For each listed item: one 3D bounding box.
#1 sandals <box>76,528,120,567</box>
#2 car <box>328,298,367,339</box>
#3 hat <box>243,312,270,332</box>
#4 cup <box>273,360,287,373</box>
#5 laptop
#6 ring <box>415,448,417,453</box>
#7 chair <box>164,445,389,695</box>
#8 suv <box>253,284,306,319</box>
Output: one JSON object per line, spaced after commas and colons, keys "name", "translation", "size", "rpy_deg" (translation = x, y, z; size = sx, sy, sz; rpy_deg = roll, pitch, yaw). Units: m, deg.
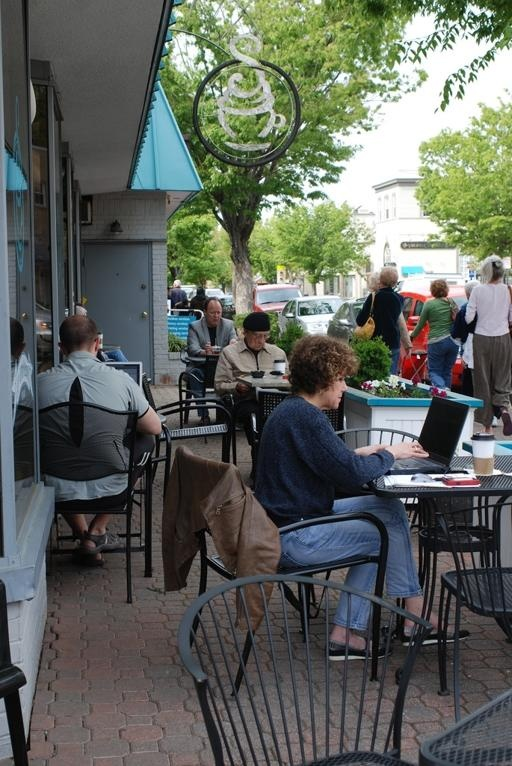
{"name": "sandals", "translation": [-1.069, 1.092, 4.482], "size": [0.169, 0.201, 0.469], "rpy_deg": [0, 2, 14]}
{"name": "car", "translation": [2.150, -1.544, 15.397], "size": [0.972, 0.884, 1.819], "rpy_deg": [0, -1, -7]}
{"name": "hat", "translation": [0.002, -0.644, 7.129], "size": [0.224, 0.166, 0.214], "rpy_deg": [0, 4, 31]}
{"name": "cup", "translation": [0.255, -0.177, 7.214], "size": [0.139, 0.152, 0.141], "rpy_deg": [1, 4, 0]}
{"name": "laptop", "translation": [0.846, 0.261, 3.367], "size": [0.359, 0.324, 0.434], "rpy_deg": [-2, 3, -5]}
{"name": "ring", "translation": [0.765, 0.322, 3.200], "size": [0.015, 0.011, 0.015], "rpy_deg": [0, -1, 0]}
{"name": "chair", "translation": [0.070, 0.608, 2.905], "size": [0.805, 1.140, 0.799], "rpy_deg": [-4, 5, -21]}
{"name": "suv", "translation": [1.046, -3.775, 28.378], "size": [1.906, 1.781, 3.330], "rpy_deg": [-2, 0, -13]}
